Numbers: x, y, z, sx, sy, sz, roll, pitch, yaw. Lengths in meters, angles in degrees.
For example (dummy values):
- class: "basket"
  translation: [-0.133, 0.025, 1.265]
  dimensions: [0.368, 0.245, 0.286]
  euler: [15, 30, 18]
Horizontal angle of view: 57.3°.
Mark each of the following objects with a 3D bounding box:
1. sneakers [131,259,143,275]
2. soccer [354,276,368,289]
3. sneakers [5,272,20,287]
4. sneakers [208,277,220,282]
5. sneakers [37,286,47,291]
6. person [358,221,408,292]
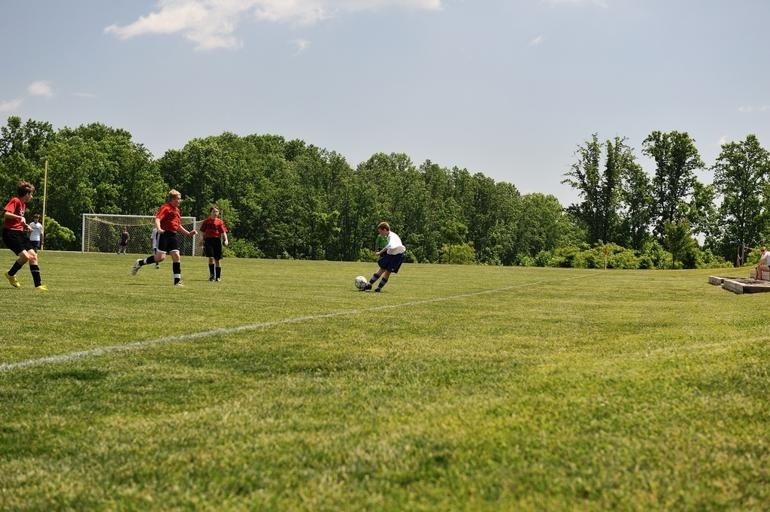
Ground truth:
- class: "sneakers"
  translation: [-7.127, 0.333, 20.151]
  dimensions: [0.249, 0.212, 0.583]
  euler: [6, 19, -21]
- class: "soccer"
  translation: [-0.594, 0.651, 17.243]
  dimensions: [0.291, 0.286, 0.287]
  euler: [13, -5, -36]
- class: "sneakers"
  translation: [-7.760, 0.486, 14.577]
  dimensions: [0.289, 0.132, 0.103]
  euler: [47, 12, -25]
- class: "sneakers"
  translation: [-4.408, 0.606, 18.198]
  dimensions: [0.311, 0.132, 0.105]
  euler: [2, -2, 23]
- class: "sneakers"
  translation: [-6.660, 0.615, 13.593]
  dimensions: [0.157, 0.080, 0.130]
  euler: [-1, -2, 41]
- class: "person"
  translation: [-0.021, 0.047, 17.100]
  dimensions: [0.984, 1.693, 0.946]
  euler: [2, -6, 44]
